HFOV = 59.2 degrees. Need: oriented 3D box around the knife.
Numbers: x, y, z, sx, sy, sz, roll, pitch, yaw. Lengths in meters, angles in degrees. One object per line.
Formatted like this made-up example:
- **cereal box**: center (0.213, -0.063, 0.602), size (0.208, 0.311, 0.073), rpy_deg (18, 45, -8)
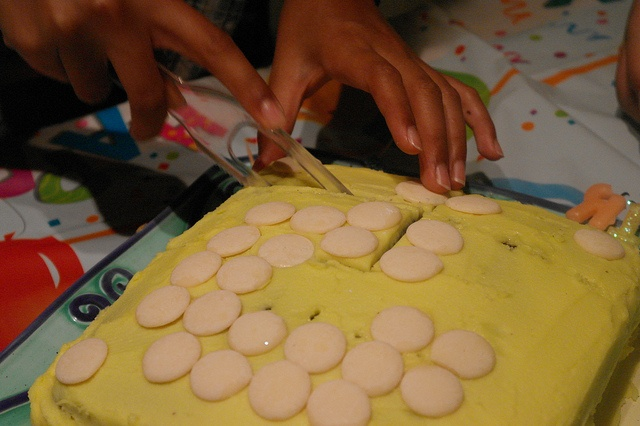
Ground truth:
- **knife**: center (-0.276, -0.304, 1.561), size (0.809, 0.214, 0.036), rpy_deg (40, 41, 5)
